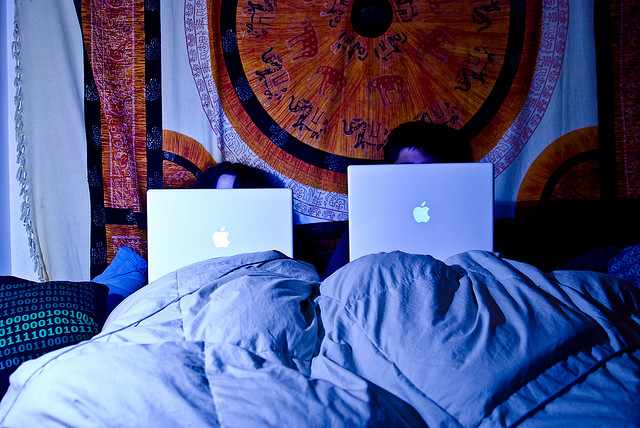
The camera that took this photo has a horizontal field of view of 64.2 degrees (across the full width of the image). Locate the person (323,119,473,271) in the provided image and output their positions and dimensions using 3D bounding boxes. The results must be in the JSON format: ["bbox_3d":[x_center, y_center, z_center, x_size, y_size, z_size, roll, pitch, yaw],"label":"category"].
[{"bbox_3d":[0.440,-0.062,3.096,0.965,0.738,0.741,2,-4,-7],"label":"person"}]

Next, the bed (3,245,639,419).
[{"bbox_3d":[0.121,0.439,1.702,1.504,0.915,0.279,-5,-64,4],"label":"bed"}]

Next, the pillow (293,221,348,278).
[{"bbox_3d":[-0.023,0.234,3.166,0.372,0.429,0.268,0,-6,-1],"label":"pillow"}]
